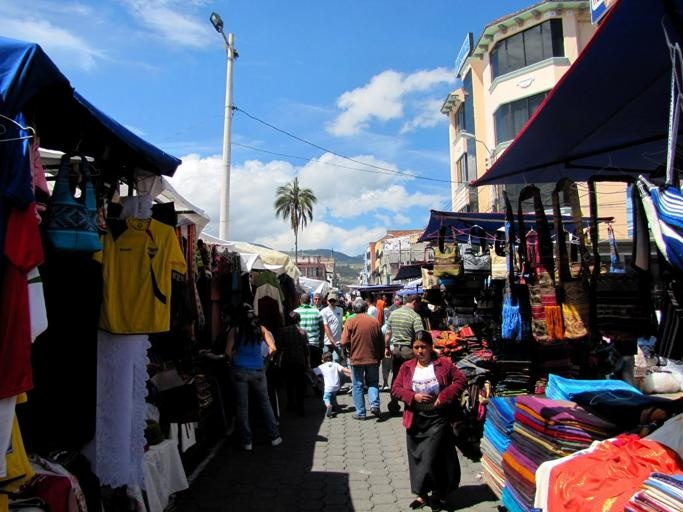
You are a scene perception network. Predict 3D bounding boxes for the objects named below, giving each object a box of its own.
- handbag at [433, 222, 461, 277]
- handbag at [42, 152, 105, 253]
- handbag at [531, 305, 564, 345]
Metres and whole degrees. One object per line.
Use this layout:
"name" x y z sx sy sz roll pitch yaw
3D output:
"handbag" 1.396 -0.062 6.852 0.348 0.809 0.207 -3 -21 19
"handbag" -1.905 -0.374 3.688 0.185 0.746 0.337 -14 -14 39
"handbag" 1.655 0.544 4.142 0.073 0.364 0.320 0 1 -25
